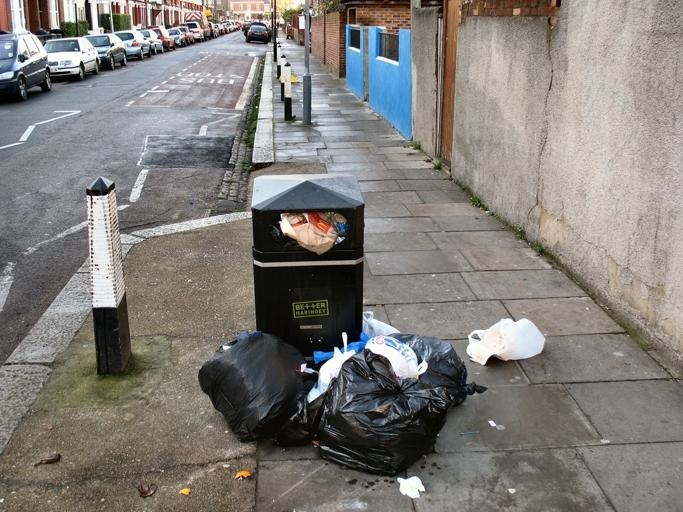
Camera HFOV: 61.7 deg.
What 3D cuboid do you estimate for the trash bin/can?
[{"bbox_3d":[-0.170,-0.151,5.073,1.101,2.209,1.152,0,20,-2],"label":"trash bin/can"}]
